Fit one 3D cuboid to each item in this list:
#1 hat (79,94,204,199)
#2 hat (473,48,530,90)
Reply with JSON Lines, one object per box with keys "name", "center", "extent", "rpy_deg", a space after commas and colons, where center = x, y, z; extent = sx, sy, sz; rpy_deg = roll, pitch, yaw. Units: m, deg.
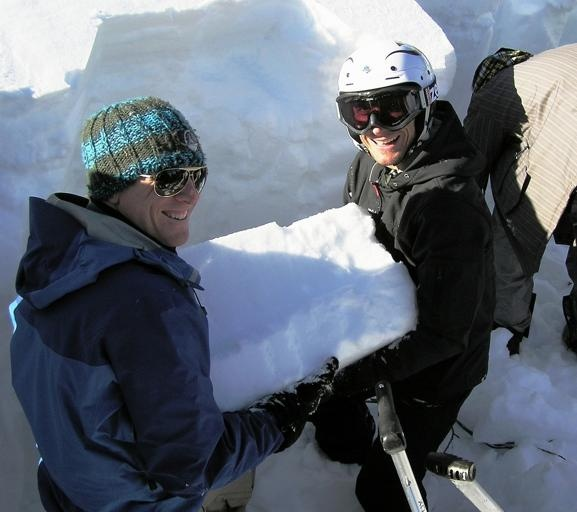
{"name": "hat", "center": [-0.552, -0.450, 2.205], "extent": [0.334, 0.318, 0.398], "rpy_deg": [2, 24, 33]}
{"name": "hat", "center": [1.281, -1.171, 3.718], "extent": [0.242, 0.123, 0.350], "rpy_deg": [-24, -14, -30]}
